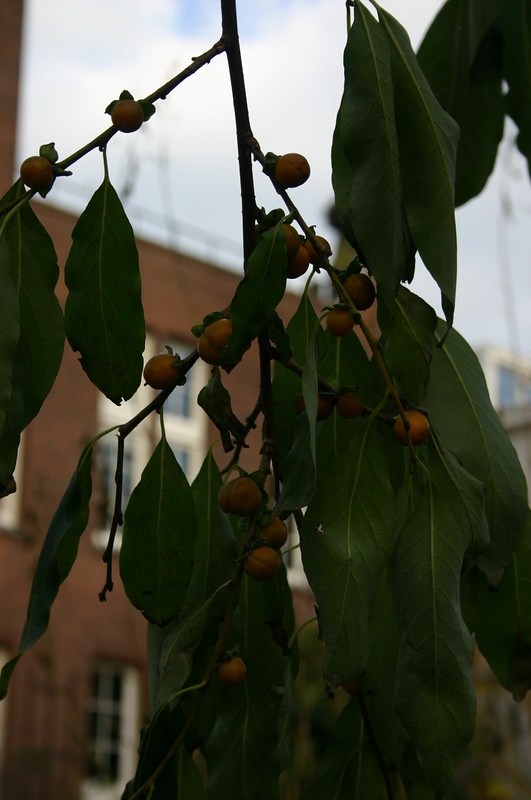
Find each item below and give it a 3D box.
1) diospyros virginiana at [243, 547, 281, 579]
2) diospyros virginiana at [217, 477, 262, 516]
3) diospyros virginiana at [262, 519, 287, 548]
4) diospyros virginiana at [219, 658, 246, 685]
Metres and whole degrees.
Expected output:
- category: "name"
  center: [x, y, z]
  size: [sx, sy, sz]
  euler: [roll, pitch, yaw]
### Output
- category: "diospyros virginiana"
  center: [-0.005, 0.176, 1.643]
  size: [0.032, 0.048, 0.033]
  euler: [-2, 3, 3]
- category: "diospyros virginiana"
  center: [-0.029, 0.103, 1.664]
  size: [0.038, 0.059, 0.040]
  euler: [0, -2, 5]
- category: "diospyros virginiana"
  center: [0.009, 0.146, 1.665]
  size: [0.025, 0.038, 0.028]
  euler: [0, 4, 7]
- category: "diospyros virginiana"
  center: [-0.038, 0.300, 1.685]
  size: [0.025, 0.036, 0.030]
  euler: [2, -43, -6]
